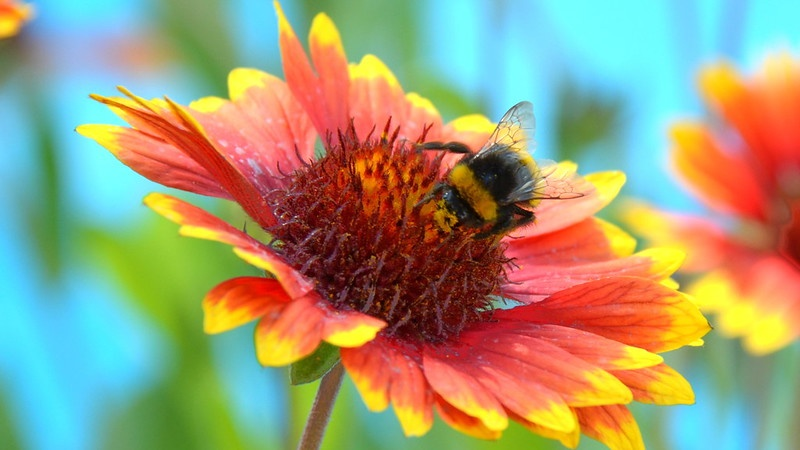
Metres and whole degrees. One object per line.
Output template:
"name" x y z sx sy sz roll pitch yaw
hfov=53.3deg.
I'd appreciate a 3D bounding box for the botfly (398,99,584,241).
"botfly" 0.221 -0.101 1.635 0.362 0.116 0.258 -22 74 -30
